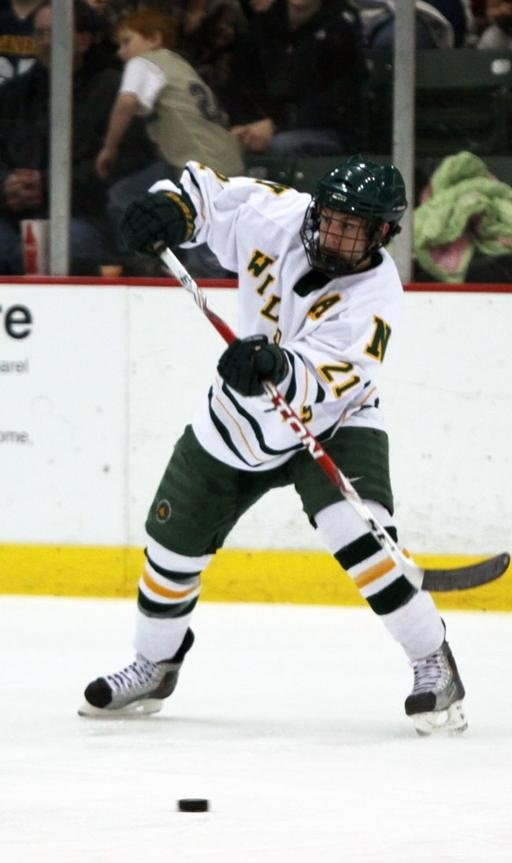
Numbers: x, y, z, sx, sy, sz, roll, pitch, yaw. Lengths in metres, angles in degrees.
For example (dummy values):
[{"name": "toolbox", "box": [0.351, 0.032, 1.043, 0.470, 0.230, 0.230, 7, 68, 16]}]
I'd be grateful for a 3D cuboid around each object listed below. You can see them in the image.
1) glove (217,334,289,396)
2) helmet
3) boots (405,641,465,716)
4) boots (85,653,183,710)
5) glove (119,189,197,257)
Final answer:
[{"name": "glove", "box": [-0.005, -0.117, 1.618, 0.123, 0.103, 0.073, 2, -1, -1]}, {"name": "helmet", "box": [0.188, -0.432, 1.818, 0.203, 0.227, 0.128, 1, -1, 4]}, {"name": "boots", "box": [0.379, 0.539, 1.996, 0.066, 0.132, 0.204, -20, -9, 36]}, {"name": "boots", "box": [-0.266, 0.557, 2.125, 0.257, 0.115, 0.083, -6, 49, -41]}, {"name": "glove", "box": [-0.203, -0.443, 1.968, 0.131, 0.064, 0.165, -17, 2, 11]}]
